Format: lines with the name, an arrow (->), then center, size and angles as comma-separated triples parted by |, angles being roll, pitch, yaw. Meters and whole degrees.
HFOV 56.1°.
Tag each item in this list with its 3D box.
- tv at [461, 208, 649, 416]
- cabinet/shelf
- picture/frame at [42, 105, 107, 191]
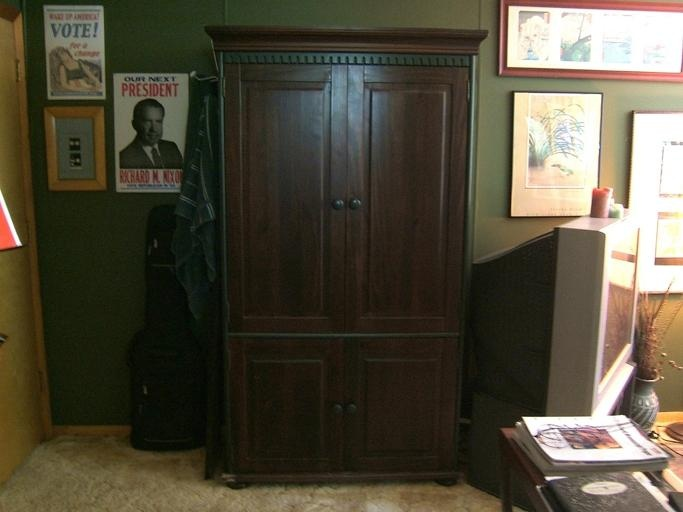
tv -> 1.041, 0.318, 3.242 | 0.779, 1.011, 0.604 | 6, 14, 24
cabinet/shelf -> 0.033, 0.028, 3.397 | 1.392, 2.385, 0.363 | -1, 13, -3
picture/frame -> -1.584, -0.661, 3.805 | 0.467, 0.703, 0.048 | 0, 8, -6
